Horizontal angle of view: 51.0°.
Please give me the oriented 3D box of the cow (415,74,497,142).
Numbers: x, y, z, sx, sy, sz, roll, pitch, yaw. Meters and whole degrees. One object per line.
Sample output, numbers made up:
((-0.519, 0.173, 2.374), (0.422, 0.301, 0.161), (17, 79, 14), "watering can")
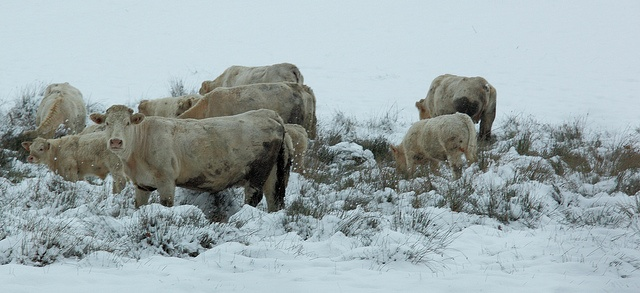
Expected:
((10.958, -3.412, 54.305), (4.660, 5.925, 10.369), (0, 1, -32), "cow")

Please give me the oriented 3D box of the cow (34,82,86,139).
((-20.353, -3.040, 51.314), (2.723, 4.857, 4.011), (2, 0, -11), "cow")

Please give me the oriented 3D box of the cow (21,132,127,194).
((-17.395, 1.275, 49.740), (8.653, 4.049, 2.598), (-1, 2, 6), "cow")

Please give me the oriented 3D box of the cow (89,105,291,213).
((-9.261, 1.263, 47.714), (14.447, 6.978, 4.322), (2, -7, -28), "cow")
